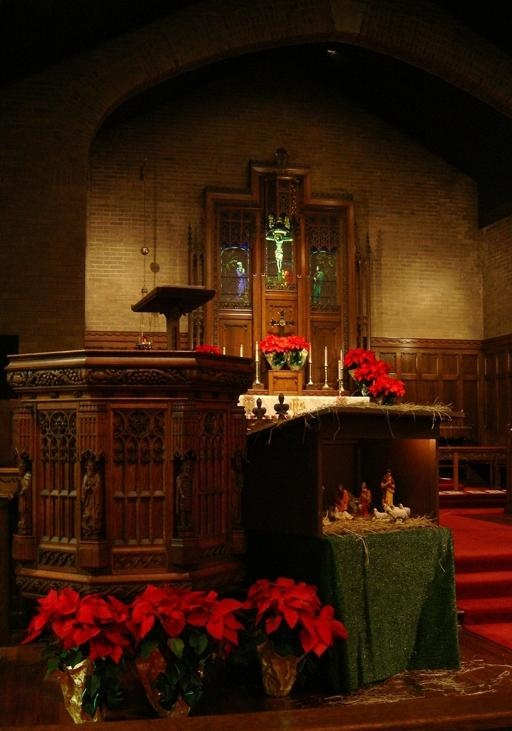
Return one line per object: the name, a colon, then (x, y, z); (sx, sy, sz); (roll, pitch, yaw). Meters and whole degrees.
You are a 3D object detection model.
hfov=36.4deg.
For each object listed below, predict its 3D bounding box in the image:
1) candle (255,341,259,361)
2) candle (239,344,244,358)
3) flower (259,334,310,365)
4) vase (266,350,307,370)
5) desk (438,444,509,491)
candle: (0.026, -0.193, 10.248); (0.053, 0.278, 0.179); (0, -1, -2)
candle: (-0.191, -0.222, 10.334); (0.058, 0.146, 0.140); (0, -1, -1)
flower: (0.309, -0.157, 8.161); (0.379, 0.247, 0.386); (-1, 0, 19)
vase: (0.311, -0.064, 8.164); (0.320, 0.174, 0.255); (-10, -9, 28)
desk: (2.555, 1.237, 9.369); (1.214, 0.570, 0.493); (0, -1, -41)
